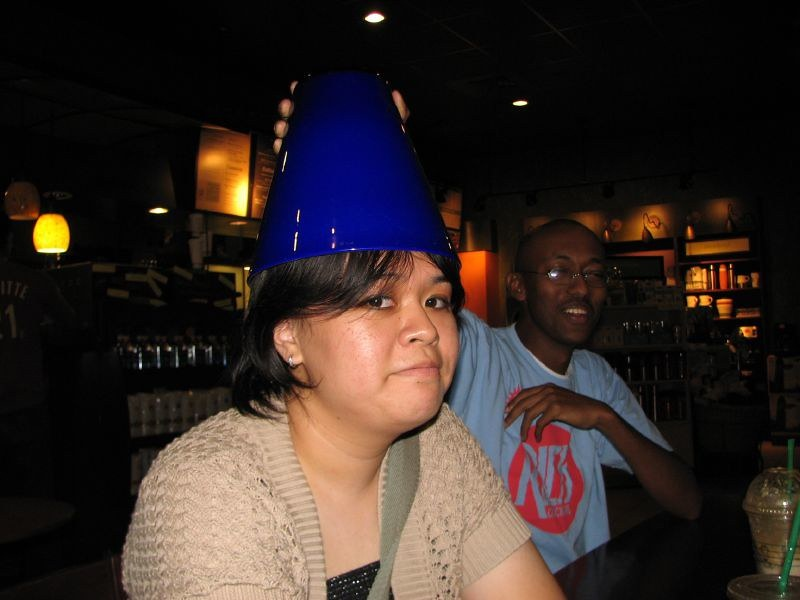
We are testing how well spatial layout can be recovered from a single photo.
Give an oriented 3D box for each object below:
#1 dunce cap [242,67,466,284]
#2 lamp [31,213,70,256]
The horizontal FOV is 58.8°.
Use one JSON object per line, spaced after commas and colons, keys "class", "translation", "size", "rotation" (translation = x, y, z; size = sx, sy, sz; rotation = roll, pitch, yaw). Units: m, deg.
{"class": "dunce cap", "translation": [-0.104, -0.308, 2.112], "size": [0.582, 0.535, 0.536], "rotation": [-3, 1, 17]}
{"class": "lamp", "translation": [-2.135, -0.397, 4.378], "size": [0.222, 0.254, 0.225], "rotation": [3, -2, -28]}
